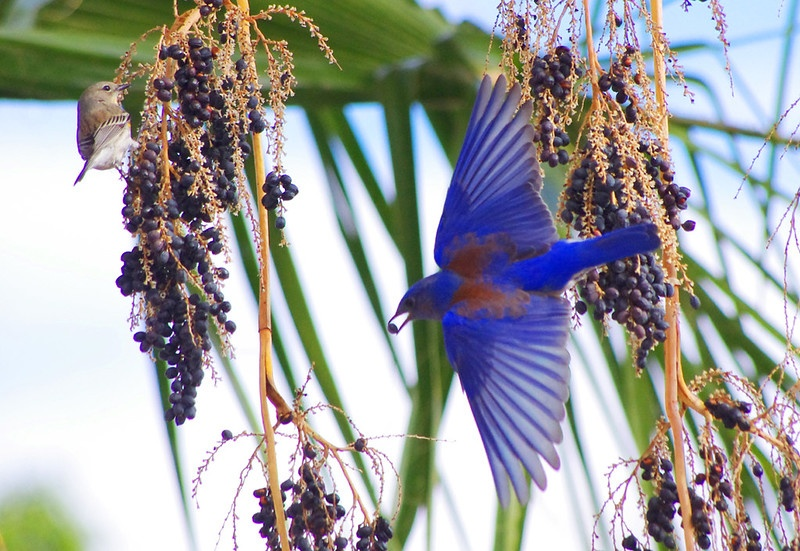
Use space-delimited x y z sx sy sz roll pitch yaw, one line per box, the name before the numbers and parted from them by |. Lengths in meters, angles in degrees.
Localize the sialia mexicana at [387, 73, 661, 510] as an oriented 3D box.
sialia mexicana | 0.206 0.042 2.539 0.305 0.598 0.414 18 -37 -20
